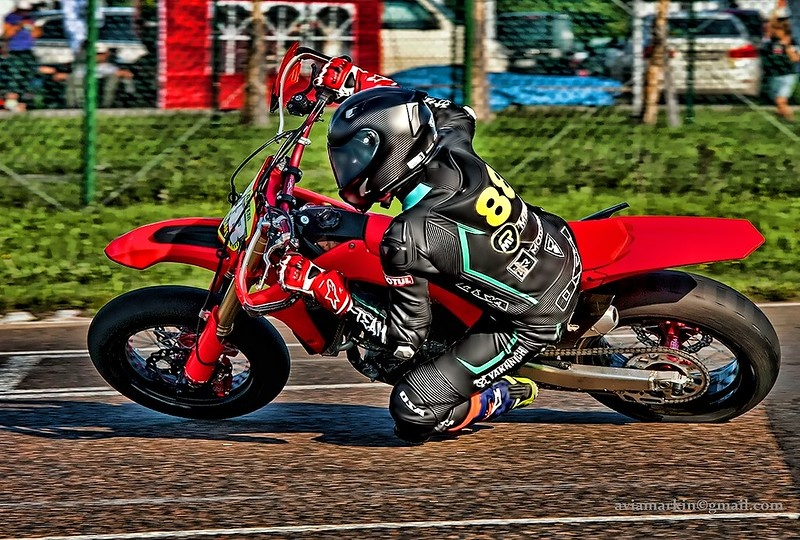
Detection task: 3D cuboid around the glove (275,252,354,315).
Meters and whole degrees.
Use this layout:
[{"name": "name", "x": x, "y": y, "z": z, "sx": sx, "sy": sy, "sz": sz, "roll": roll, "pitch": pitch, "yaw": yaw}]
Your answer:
[{"name": "glove", "x": -0.501, "y": 0.087, "z": 4.585, "sx": 0.427, "sy": 0.391, "sz": 0.127, "roll": 0, "pitch": 15, "yaw": -6}]

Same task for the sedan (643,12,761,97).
[{"name": "sedan", "x": 5.867, "y": -4.749, "z": 15.435, "sx": 2.436, "sy": 1.275, "sz": 2.802, "roll": 4, "pitch": 43, "yaw": 15}]

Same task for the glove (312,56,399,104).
[{"name": "glove", "x": -0.285, "y": -1.185, "z": 4.742, "sx": 0.535, "sy": 0.144, "sz": 0.247, "roll": 9, "pitch": 37, "yaw": -8}]
